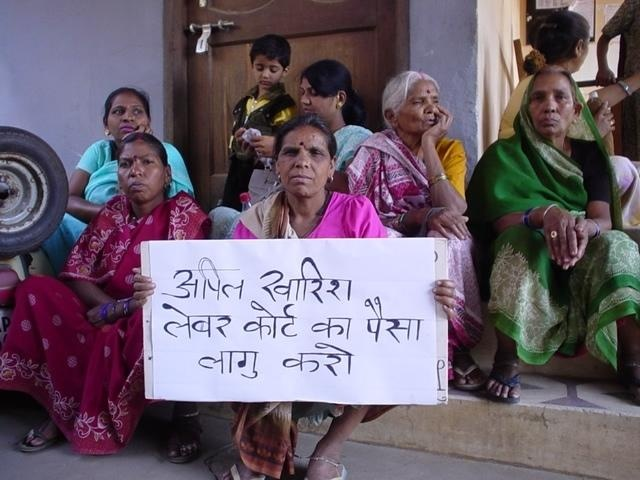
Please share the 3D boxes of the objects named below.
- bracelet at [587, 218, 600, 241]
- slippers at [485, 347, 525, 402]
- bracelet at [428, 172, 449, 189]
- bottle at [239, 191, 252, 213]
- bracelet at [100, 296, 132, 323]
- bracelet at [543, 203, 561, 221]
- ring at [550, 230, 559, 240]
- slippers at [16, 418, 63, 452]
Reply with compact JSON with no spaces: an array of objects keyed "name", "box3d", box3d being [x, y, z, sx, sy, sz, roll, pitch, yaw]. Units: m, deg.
[{"name":"bracelet","box3d":[1.403,-0.055,3.287,0.034,0.104,0.082,-3,17,-13]},{"name":"slippers","box3d":[0.883,0.655,3.140,0.165,0.202,0.195,0,13,20]},{"name":"bracelet","box3d":[0.642,-0.327,3.474,0.072,0.082,0.029,-7,42,-48]},{"name":"bottle","box3d":[-0.419,-0.219,3.624,0.064,0.074,0.164,-4,3,-8]},{"name":"bracelet","box3d":[-1.014,0.346,3.189,0.114,0.066,0.161,-3,24,-2]},{"name":"bracelet","box3d":[1.151,-0.143,3.225,0.064,0.056,0.150,5,16,38]},{"name":"ring","box3d":[1.128,-0.022,3.119,0.034,0.040,0.016,2,-14,22]},{"name":"slippers","box3d":[-1.430,0.985,3.234,0.211,0.112,0.142,-3,12,8]}]
